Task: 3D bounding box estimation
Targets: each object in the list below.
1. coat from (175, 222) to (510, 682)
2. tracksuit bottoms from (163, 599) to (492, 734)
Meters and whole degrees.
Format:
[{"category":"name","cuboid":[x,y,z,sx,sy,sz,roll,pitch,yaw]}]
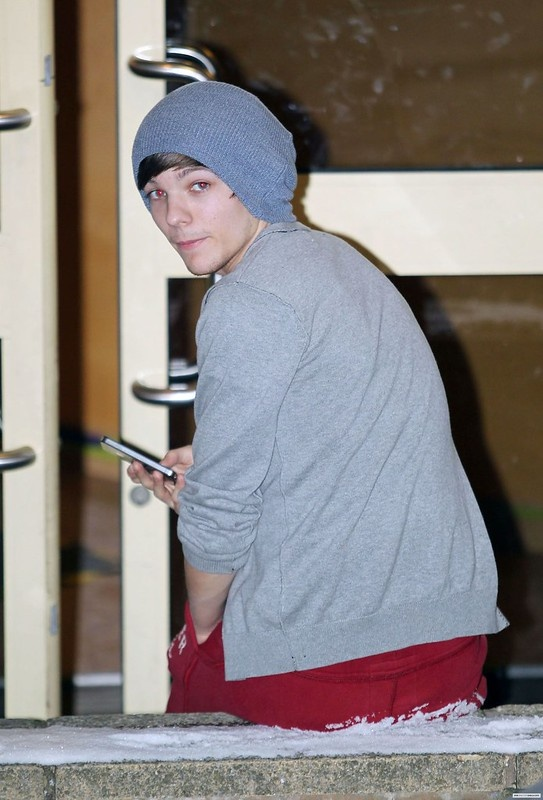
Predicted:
[{"category":"coat","cuboid":[0.134,0.101,2.282,0.521,0.722,0.334,12,22,16]},{"category":"tracksuit bottoms","cuboid":[0.080,0.452,2.364,0.379,0.096,0.246,-5,-4,11]}]
